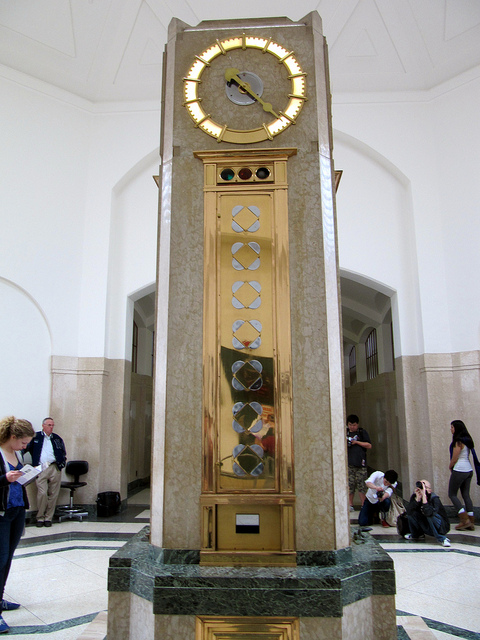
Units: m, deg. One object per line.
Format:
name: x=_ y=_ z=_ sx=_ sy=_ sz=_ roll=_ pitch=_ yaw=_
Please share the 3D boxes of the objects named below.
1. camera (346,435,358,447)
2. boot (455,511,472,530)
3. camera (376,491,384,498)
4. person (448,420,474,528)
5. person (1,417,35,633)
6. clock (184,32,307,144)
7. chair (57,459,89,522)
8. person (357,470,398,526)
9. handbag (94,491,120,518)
camera: x=1.613 y=1.747 z=7.545 sx=0.136 sy=0.169 sz=0.227 roll=-3 pitch=-12 yaw=14
boot: x=2.823 y=2.612 z=6.796 sx=0.134 sy=0.245 sz=0.249 roll=5 pitch=-12 yaw=-17
camera: x=1.837 y=2.301 z=6.917 sx=0.070 sy=0.077 sz=0.083 roll=6 pitch=2 yaw=36
person: x=2.916 y=2.035 z=6.948 sx=0.334 sy=1.372 sz=0.564 roll=-5 pitch=-13 yaw=20
person: x=-1.562 y=1.266 z=3.621 sx=0.198 sy=1.160 sz=0.577 roll=4 pitch=-13 yaw=-20
clock: x=0.042 y=-1.279 z=2.949 sx=0.638 sy=0.626 sz=0.050 roll=-1 pitch=-7 yaw=1
chair: x=-2.553 y=2.583 z=7.953 sx=0.463 sy=0.827 sz=0.484 roll=1 pitch=-8 yaw=5
person: x=1.859 y=2.388 z=7.004 sx=0.453 sy=0.756 sz=0.674 roll=5 pitch=-13 yaw=-23
handbag: x=-2.013 y=2.833 z=8.081 sx=0.368 sy=0.372 sz=0.325 roll=0 pitch=-6 yaw=-2
